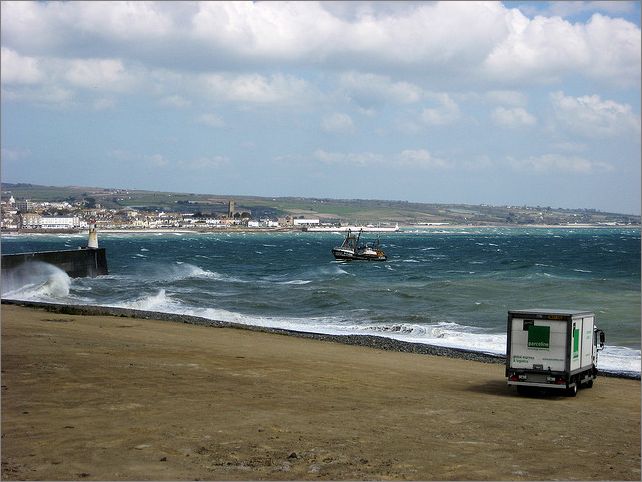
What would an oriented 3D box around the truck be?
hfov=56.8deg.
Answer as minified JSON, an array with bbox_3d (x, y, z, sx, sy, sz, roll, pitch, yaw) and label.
[{"bbox_3d":[7.662,3.196,19.189,2.262,1.768,4.075,1,2,27],"label":"truck"}]
